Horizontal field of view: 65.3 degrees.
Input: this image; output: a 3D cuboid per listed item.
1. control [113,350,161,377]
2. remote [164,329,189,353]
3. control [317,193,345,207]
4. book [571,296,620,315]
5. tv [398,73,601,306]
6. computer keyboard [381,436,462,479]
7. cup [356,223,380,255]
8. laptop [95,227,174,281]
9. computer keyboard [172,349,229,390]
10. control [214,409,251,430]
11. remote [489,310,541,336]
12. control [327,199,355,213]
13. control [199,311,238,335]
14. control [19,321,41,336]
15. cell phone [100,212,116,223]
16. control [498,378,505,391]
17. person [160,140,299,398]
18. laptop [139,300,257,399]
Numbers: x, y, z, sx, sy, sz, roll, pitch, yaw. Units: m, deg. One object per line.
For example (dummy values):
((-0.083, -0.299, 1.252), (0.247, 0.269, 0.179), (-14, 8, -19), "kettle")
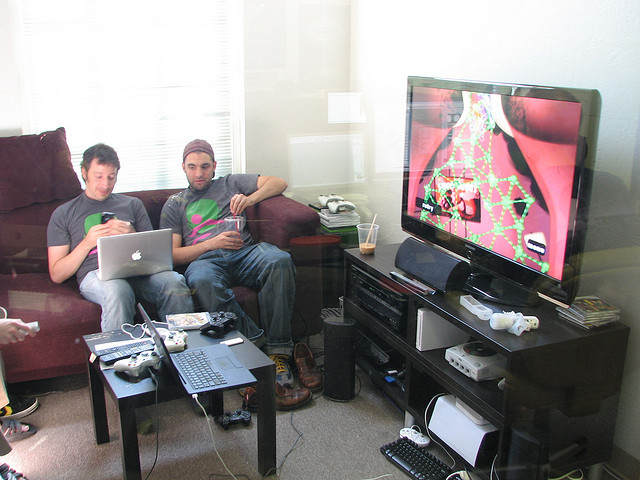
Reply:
((-0.666, 0.426, 1.825), (0.087, 0.048, 0.123), (13, 15, 39), "control")
((-0.586, 0.405, 2.018), (0.077, 0.028, 0.072), (6, 27, 1), "remote")
((0.052, -0.194, 2.476), (0.132, 0.060, 0.026), (-5, 20, -6), "control")
((0.949, 0.215, 1.716), (0.092, 0.020, 0.087), (-3, 16, -16), "book")
((0.672, -0.250, 1.982), (0.111, 0.723, 0.933), (-10, 22, -21), "tv")
((0.383, 0.883, 2.001), (0.139, 0.036, 0.261), (-17, 22, -38), "computer keyboard")
((0.232, -0.003, 2.443), (0.144, 0.133, 0.136), (0, 6, 0), "cup")
((-0.839, 0.098, 2.386), (0.364, 0.213, 0.258), (-6, -12, -8), "laptop")
((-0.473, 0.485, 1.880), (0.020, 0.191, 0.381), (-30, -13, 0), "computer keyboard")
((-0.391, 0.798, 2.215), (0.155, 0.040, 0.088), (-7, 18, -13), "control")
((0.691, 0.289, 1.770), (0.118, 0.047, 0.090), (7, 10, 12), "remote")
((0.098, -0.170, 2.480), (0.116, 0.047, 0.069), (0, 13, -20), "control")
((-0.420, 0.347, 2.138), (0.084, 0.038, 0.120), (20, 28, 40), "control")
((-1.242, 0.378, 2.143), (0.072, 0.024, 0.067), (-10, 20, 19), "control")
((-0.952, -0.101, 2.230), (0.054, 0.089, 0.012), (0, 21, -19), "cell phone")
((0.651, 0.521, 1.805), (0.020, 0.022, 0.057), (2, 12, 10), "control")
((-0.420, 0.078, 2.406), (0.665, 1.120, 0.591), (-3, 7, 29), "person")
((-0.434, 0.428, 1.871), (0.292, 0.208, 0.277), (-11, 20, -23), "laptop")
